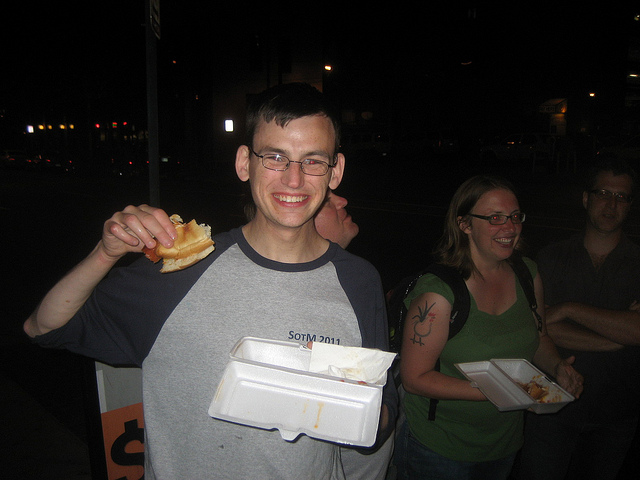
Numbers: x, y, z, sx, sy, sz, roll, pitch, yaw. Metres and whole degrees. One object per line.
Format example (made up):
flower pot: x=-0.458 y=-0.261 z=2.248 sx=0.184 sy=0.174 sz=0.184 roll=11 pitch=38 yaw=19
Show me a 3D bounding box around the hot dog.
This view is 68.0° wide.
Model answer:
hot dog: x=-0.876 y=0.043 z=2.963 sx=0.432 sy=0.145 sz=0.358 roll=-16 pitch=60 yaw=-4
